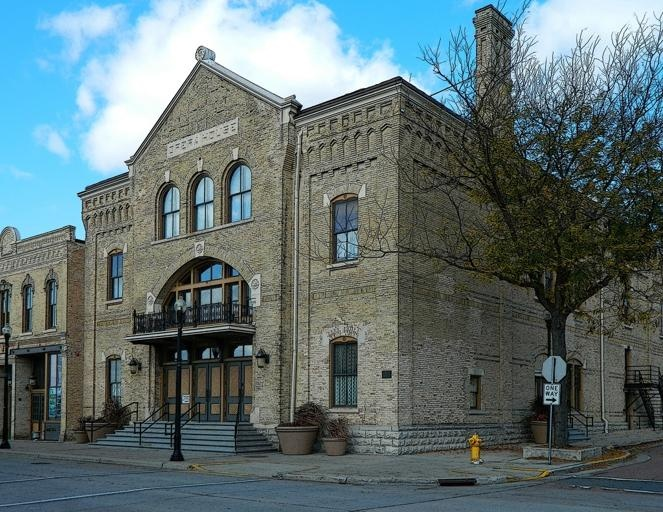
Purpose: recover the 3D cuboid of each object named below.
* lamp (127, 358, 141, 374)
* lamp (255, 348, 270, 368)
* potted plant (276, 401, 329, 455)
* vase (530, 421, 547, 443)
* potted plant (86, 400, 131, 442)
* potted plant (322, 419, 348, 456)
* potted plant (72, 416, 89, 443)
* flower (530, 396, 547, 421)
[{"bbox_3d":[-8.299,4.634,41.263,0.413,0.682,0.567,12,-21,-41],"label":"lamp"},{"bbox_3d":[-2.636,3.855,36.748,0.408,0.737,0.550,12,-21,-42],"label":"lamp"},{"bbox_3d":[-1.211,6.424,35.558,1.941,1.372,1.844,1,-14,-11],"label":"potted plant"},{"bbox_3d":[8.222,6.958,38.757,0.877,0.800,0.831,2,-12,-4],"label":"vase"},{"bbox_3d":[-9.683,7.017,42.006,1.464,1.358,2.109,6,-16,-36],"label":"potted plant"},{"bbox_3d":[0.207,6.474,34.869,1.193,1.242,1.108,2,-19,-4],"label":"potted plant"},{"bbox_3d":[-10.777,7.604,42.631,1.110,1.154,1.051,1,-11,-4],"label":"potted plant"},{"bbox_3d":[8.357,6.166,39.592,0.622,1.150,1.752,-5,-16,11],"label":"flower"}]
